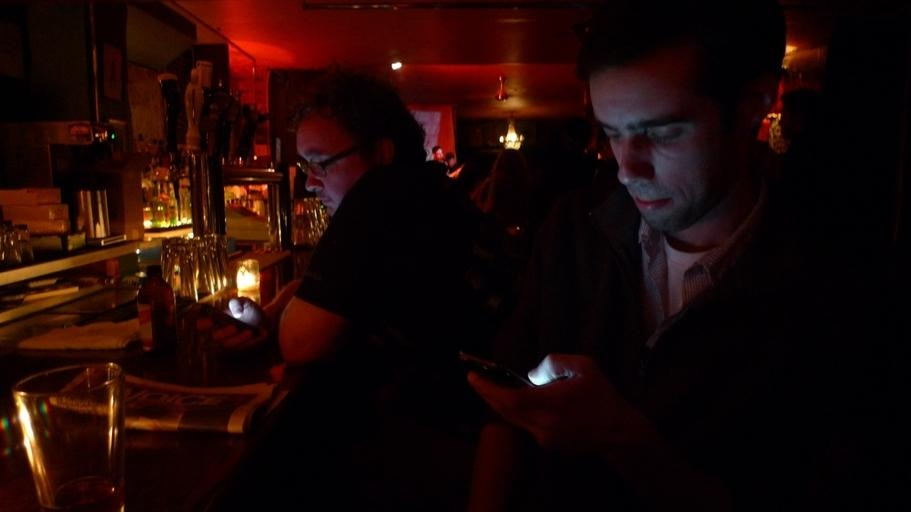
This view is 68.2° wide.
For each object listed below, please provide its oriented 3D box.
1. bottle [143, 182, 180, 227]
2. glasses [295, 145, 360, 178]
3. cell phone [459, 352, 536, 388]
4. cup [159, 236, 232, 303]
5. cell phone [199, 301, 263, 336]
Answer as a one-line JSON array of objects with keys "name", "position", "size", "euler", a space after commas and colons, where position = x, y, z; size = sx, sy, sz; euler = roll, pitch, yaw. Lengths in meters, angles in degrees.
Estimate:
[{"name": "bottle", "position": [-1.973, -0.354, 4.543], "size": [0.092, 0.297, 0.356], "euler": [-2, 7, 10]}, {"name": "glasses", "position": [-0.542, -0.423, 2.934], "size": [0.180, 0.051, 0.171], "euler": [-31, 17, -17]}, {"name": "cell phone", "position": [0.137, 0.412, 2.407], "size": [0.191, 0.043, 0.101], "euler": [17, -9, 15]}, {"name": "cup", "position": [-1.194, 0.049, 3.123], "size": [0.315, 0.281, 0.305], "euler": [-2, 3, 0]}, {"name": "cell phone", "position": [-0.888, 0.253, 2.678], "size": [0.225, 0.057, 0.045], "euler": [22, 24, 6]}]
